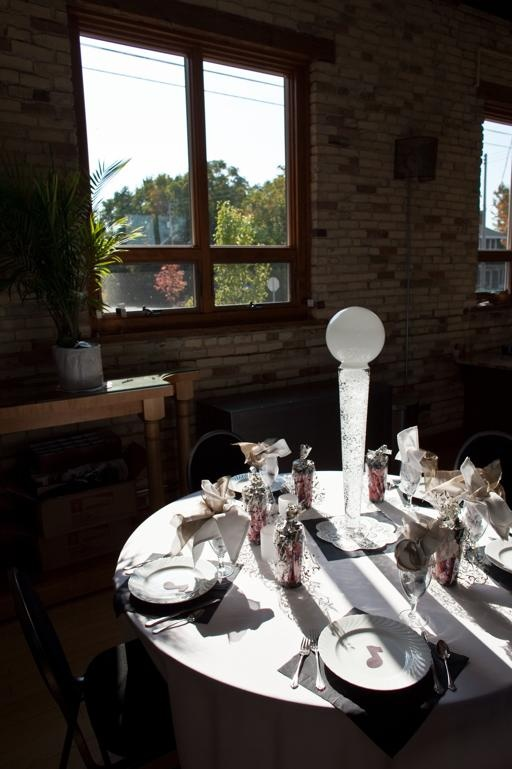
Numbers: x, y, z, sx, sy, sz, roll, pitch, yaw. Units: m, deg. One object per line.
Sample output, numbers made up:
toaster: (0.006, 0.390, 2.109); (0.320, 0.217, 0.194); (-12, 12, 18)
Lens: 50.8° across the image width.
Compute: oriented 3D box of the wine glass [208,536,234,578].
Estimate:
wine glass: (-0.077, 0.394, 1.252); (0.069, 0.111, 0.090); (-1, 7, 2)

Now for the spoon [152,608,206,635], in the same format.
spoon: (-0.151, 0.466, 1.083); (0.123, 0.018, 0.031); (-15, 17, -40)

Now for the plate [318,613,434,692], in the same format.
plate: (0.198, 0.444, 0.902); (0.189, 0.022, 0.202); (-6, 9, -18)

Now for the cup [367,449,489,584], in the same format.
cup: (0.405, 0.321, 1.283); (0.186, 0.229, 0.197); (0, 15, 0)

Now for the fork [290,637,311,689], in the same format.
fork: (0.076, 0.473, 0.913); (0.015, 0.013, 0.117); (-6, 15, 18)

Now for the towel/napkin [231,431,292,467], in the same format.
towel/napkin: (0.025, 0.187, 1.587); (0.104, 0.050, 0.103); (-32, 24, -25)

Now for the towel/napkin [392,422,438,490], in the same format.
towel/napkin: (0.444, 0.229, 1.523); (0.105, 0.181, 0.092); (16, -10, -34)

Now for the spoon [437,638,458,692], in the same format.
spoon: (0.310, 0.454, 0.871); (0.021, 0.018, 0.125); (-1, -1, 13)

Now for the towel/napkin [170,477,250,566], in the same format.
towel/napkin: (-0.081, 0.327, 1.268); (0.162, 0.203, 0.195); (-8, -5, 23)
